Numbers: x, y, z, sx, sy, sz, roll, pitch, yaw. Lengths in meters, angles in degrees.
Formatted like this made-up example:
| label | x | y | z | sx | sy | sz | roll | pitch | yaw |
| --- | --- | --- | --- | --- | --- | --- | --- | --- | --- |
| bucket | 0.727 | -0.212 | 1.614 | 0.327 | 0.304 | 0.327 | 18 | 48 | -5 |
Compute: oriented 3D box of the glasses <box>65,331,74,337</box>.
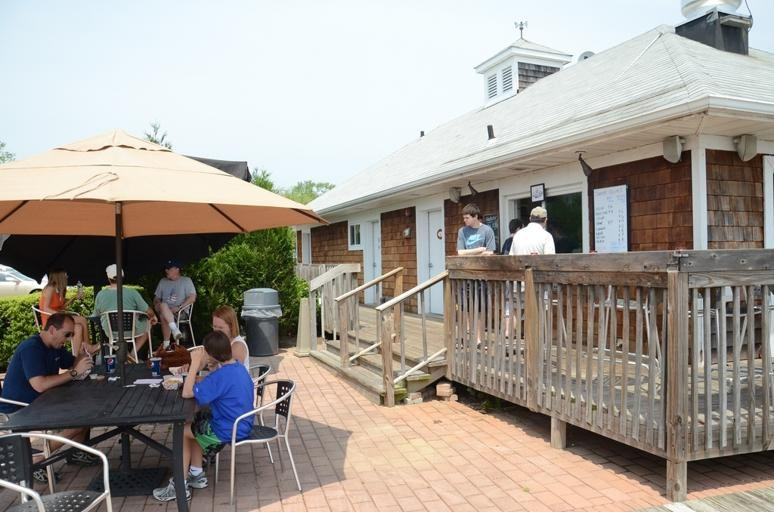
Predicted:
| label | x | y | z | sx | sy | sz | roll | pitch | yaw |
| --- | --- | --- | --- | --- | --- | --- | --- | --- | --- |
| glasses | -3.578 | 0.887 | 6.936 | 0.061 | 0.058 | 0.019 | -4 | -17 | -9 |

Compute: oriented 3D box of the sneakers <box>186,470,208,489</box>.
| label | x | y | z | sx | sy | sz | roll | pitch | yaw |
| --- | --- | --- | --- | --- | --- | --- | --- | --- | --- |
| sneakers | -2.050 | 2.463 | 6.705 | 0.122 | 0.128 | 0.283 | 0 | 5 | -45 |

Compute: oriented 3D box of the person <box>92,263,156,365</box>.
| label | x | y | z | sx | sy | sz | roll | pitch | yaw |
| --- | --- | --- | --- | --- | --- | --- | --- | --- | --- |
| person | -4.350 | 0.987 | 10.236 | 0.922 | 1.655 | 0.948 | -3 | 11 | -11 |

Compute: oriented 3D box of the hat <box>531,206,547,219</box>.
| label | x | y | z | sx | sy | sz | roll | pitch | yaw |
| --- | --- | --- | --- | --- | --- | --- | --- | --- | --- |
| hat | 2.254 | -0.637 | 9.068 | 0.191 | 0.141 | 0.297 | 5 | 12 | 24 |

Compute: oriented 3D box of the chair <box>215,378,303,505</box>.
| label | x | y | z | sx | sy | sz | roll | pitch | yaw |
| --- | --- | --- | --- | --- | --- | --- | --- | --- | --- |
| chair | -1.457 | 2.060 | 7.354 | 1.208 | 1.538 | 1.236 | 2 | -3 | -20 |

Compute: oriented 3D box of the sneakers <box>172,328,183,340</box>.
| label | x | y | z | sx | sy | sz | roll | pitch | yaw |
| --- | --- | --- | --- | --- | --- | --- | --- | --- | --- |
| sneakers | -3.609 | 1.354 | 10.590 | 0.186 | 0.228 | 0.209 | -11 | 3 | -25 |

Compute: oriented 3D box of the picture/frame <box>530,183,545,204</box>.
| label | x | y | z | sx | sy | sz | roll | pitch | yaw |
| --- | --- | --- | --- | --- | --- | --- | --- | --- | --- |
| picture/frame | 2.653 | -1.124 | 10.808 | 0.056 | 0.325 | 0.382 | 3 | -3 | -17 |

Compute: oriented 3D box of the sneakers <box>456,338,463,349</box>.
| label | x | y | z | sx | sy | sz | roll | pitch | yaw |
| --- | --- | --- | --- | --- | --- | --- | --- | --- | --- |
| sneakers | 1.056 | 1.279 | 8.953 | 0.102 | 0.177 | 0.180 | 2 | -5 | -9 |

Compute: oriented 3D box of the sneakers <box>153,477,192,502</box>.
| label | x | y | z | sx | sy | sz | roll | pitch | yaw |
| --- | --- | --- | --- | --- | --- | --- | --- | --- | --- |
| sneakers | -2.327 | 2.486 | 6.567 | 0.523 | 0.267 | 0.221 | 3 | -3 | -8 |
